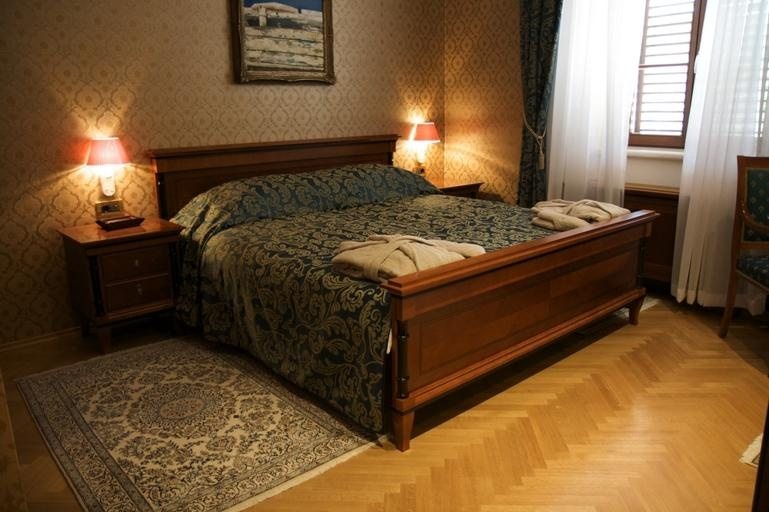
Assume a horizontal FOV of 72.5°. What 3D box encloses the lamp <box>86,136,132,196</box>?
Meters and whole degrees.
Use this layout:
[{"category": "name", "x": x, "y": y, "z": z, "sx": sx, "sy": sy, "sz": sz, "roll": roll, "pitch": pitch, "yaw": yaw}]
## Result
[{"category": "lamp", "x": -2.140, "y": -0.692, "z": 4.075, "sx": 0.348, "sy": 0.427, "sz": 0.364, "roll": 7, "pitch": 13, "yaw": 24}]
